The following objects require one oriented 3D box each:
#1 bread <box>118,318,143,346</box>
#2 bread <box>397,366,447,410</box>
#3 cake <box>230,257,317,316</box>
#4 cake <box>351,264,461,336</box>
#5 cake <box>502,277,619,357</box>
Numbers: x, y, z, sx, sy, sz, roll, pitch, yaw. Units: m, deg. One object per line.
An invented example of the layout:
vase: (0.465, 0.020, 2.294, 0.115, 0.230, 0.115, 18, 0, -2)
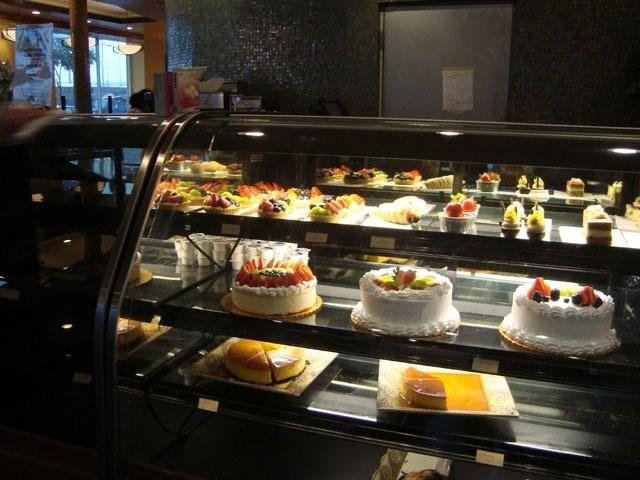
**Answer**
bread: (-0.688, 0.334, 1.677, 0.092, 0.054, 0.090, 1, 5, -2)
bread: (0.404, 0.579, 1.795, 0.175, 0.066, 0.179, 1, 16, 10)
cake: (-0.182, 0.193, 1.864, 0.250, 0.116, 0.242, 0, 10, -3)
cake: (0.333, 0.223, 1.768, 0.415, 0.184, 0.352, 2, 17, 13)
cake: (0.901, 0.267, 1.709, 0.380, 0.207, 0.375, -4, 12, -26)
